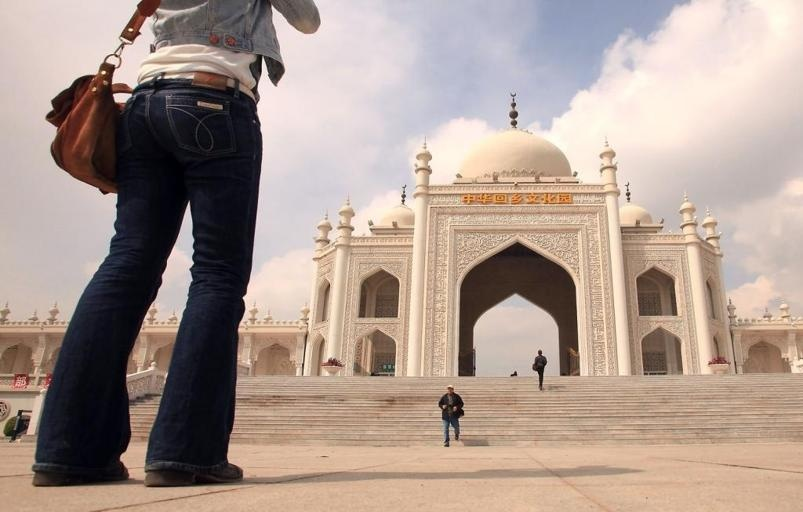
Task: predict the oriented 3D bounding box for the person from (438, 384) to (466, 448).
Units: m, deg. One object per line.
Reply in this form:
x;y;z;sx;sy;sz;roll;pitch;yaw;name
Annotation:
0.655;2.063;7.266;0.292;0.746;0.671;-2;-4;4;person

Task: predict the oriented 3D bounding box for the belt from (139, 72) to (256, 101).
-0.867;-0.772;2.533;0.231;0.052;0.191;-1;-10;11;belt

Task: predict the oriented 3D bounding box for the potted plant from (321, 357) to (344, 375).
-1.961;3.153;15.984;0.602;0.472;0.572;16;-24;-33;potted plant

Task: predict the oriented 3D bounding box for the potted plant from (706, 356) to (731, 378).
8.429;2.900;14.824;0.453;0.387;0.555;-3;-4;15;potted plant
